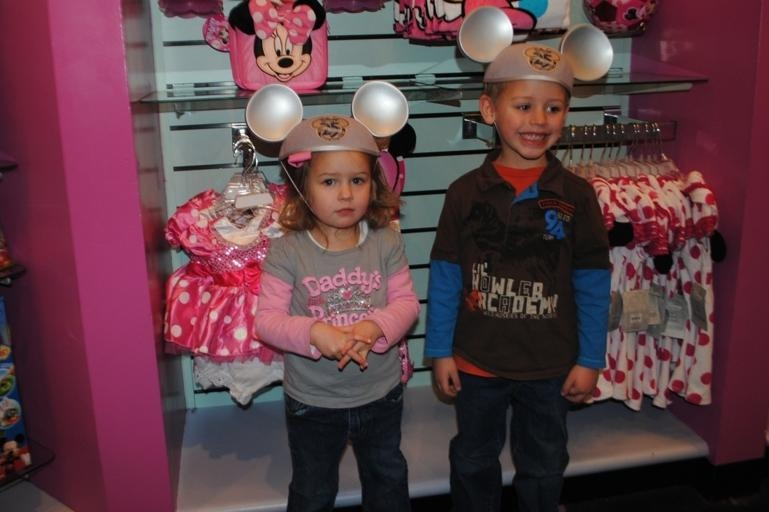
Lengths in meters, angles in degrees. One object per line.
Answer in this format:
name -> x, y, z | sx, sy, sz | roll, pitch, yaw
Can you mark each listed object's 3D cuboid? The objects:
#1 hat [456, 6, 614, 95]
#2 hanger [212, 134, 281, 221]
hat -> 0.543, -0.751, 2.228 | 0.439, 0.203, 0.202 | 7, 8, -13
hanger -> -0.552, -0.318, 2.448 | 0.230, 0.355, 0.311 | 9, 14, 37
